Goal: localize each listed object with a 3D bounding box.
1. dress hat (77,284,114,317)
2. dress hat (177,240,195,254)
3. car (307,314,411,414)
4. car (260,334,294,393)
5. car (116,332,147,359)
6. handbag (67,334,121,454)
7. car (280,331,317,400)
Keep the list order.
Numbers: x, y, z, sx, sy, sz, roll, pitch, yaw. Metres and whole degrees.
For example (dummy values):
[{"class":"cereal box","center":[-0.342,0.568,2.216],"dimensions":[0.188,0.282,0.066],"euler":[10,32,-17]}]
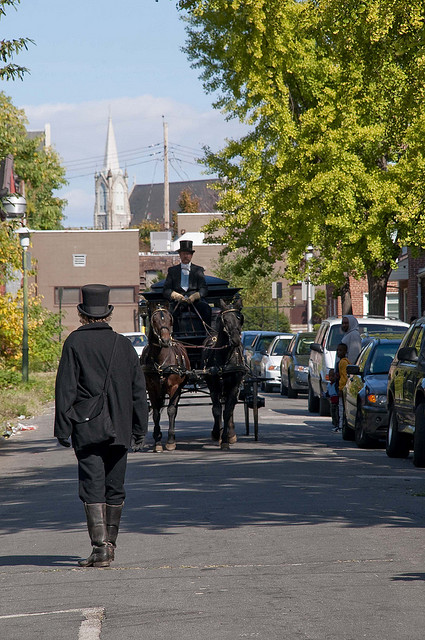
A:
[{"class":"dress hat","center":[-0.827,-0.138,9.349],"dimensions":[0.243,0.215,0.328],"euler":[-1,4,-6]},{"class":"dress hat","center":[-0.366,-1.018,18.315],"dimensions":[0.236,0.138,0.233],"euler":[1,-1,25]},{"class":"car","center":[2.427,0.600,23.818],"dimensions":[1.277,1.023,2.098],"euler":[0,-4,-10]},{"class":"car","center":[1.780,1.008,35.418],"dimensions":[0.823,0.865,1.805],"euler":[0,-4,-4]},{"class":"car","center":[-2.217,0.481,36.357],"dimensions":[0.952,0.907,1.706],"euler":[0,3,-9]},{"class":"handbag","center":[-0.814,0.435,8.942],"dimensions":[0.337,0.940,0.093],"euler":[-16,36,-23]},{"class":"car","center":[2.209,0.833,30.867],"dimensions":[0.854,1.149,2.324],"euler":[-1,10,-1]}]
